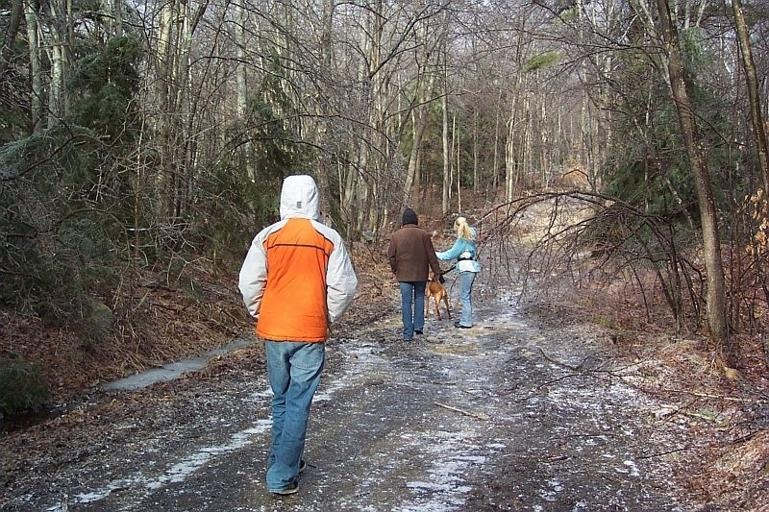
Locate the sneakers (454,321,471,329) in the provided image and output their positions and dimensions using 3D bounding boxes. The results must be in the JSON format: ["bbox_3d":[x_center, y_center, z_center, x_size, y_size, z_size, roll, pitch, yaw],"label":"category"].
[{"bbox_3d":[1.787,1.588,15.216,0.301,0.146,0.138,-3,-2,12],"label":"sneakers"}]

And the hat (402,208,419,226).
[{"bbox_3d":[0.558,-0.848,14.748,0.260,0.276,0.399,-4,4,5],"label":"hat"}]

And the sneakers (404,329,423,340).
[{"bbox_3d":[0.593,1.711,14.336,0.278,0.133,0.211,-4,1,5],"label":"sneakers"}]

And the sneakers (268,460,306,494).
[{"bbox_3d":[-1.232,2.882,8.594,0.184,0.275,0.595,4,11,14],"label":"sneakers"}]
